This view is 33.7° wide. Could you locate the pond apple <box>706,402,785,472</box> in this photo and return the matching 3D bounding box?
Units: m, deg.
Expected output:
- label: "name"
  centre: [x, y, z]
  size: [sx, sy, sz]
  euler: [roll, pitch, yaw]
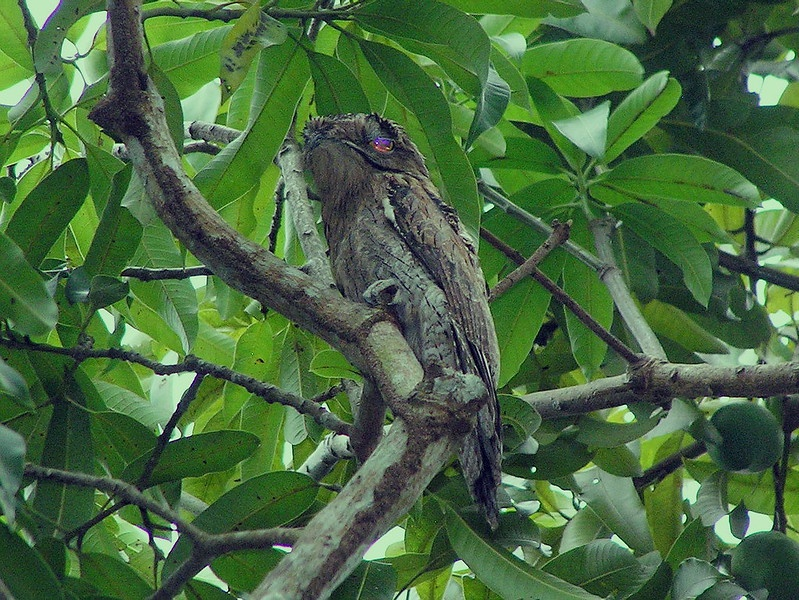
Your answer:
- label: "pond apple"
  centre: [0.976, 0.357, 3.711]
  size: [0.179, 0.122, 0.191]
  euler: [-33, -94, 26]
